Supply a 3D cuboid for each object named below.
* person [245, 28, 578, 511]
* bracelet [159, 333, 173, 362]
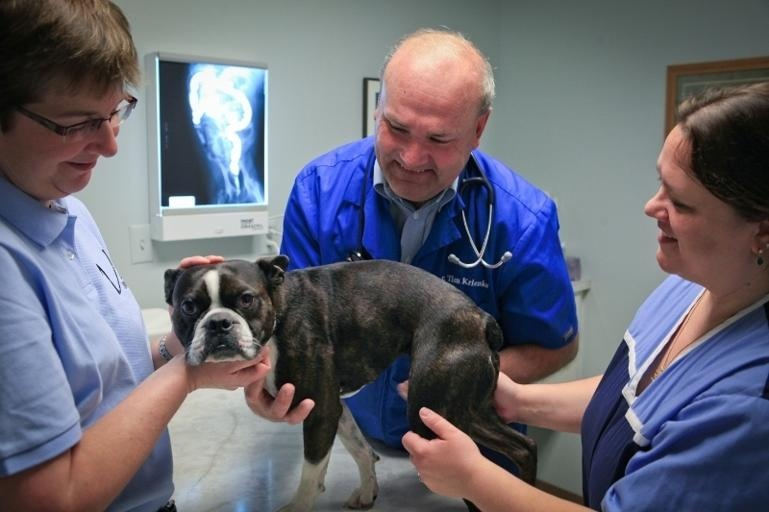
[{"bbox_3d":[0.148,-0.042,2.311,1.181,1.611,0.837,0,24,1],"label":"person"},{"bbox_3d":[-0.671,0.282,1.890,0.057,0.081,0.031,13,21,36],"label":"bracelet"}]
